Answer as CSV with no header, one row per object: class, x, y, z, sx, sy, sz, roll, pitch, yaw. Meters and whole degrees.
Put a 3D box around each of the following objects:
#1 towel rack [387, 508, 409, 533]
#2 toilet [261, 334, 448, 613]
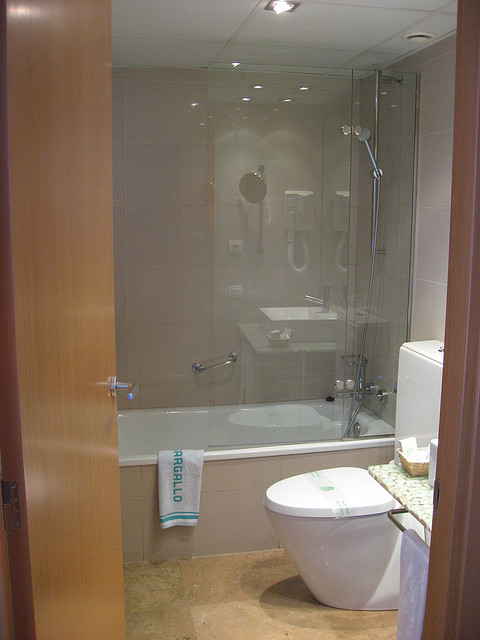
towel rack,0.473,0.593,1.596,0.068,0.022,0.082,0,2,-7
toilet,0.448,0.600,2.170,0.616,1.041,0.445,-4,8,-4
